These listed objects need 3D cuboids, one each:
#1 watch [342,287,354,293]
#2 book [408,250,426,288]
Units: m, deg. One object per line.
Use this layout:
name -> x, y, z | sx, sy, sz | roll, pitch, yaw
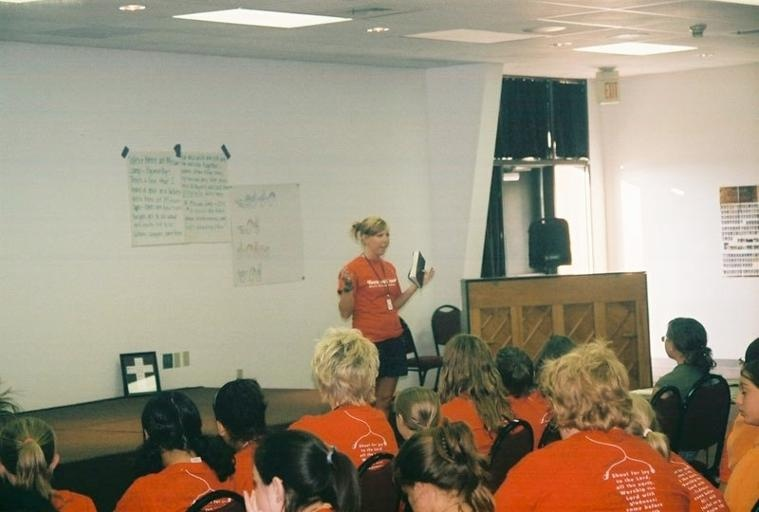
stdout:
watch -> -0.285, 0.293, 5.858 | 0.095, 0.048, 0.048 | -2, 2, 5
book -> 0.387, 0.193, 6.414 | 0.103, 0.302, 0.292 | 2, -29, 15
